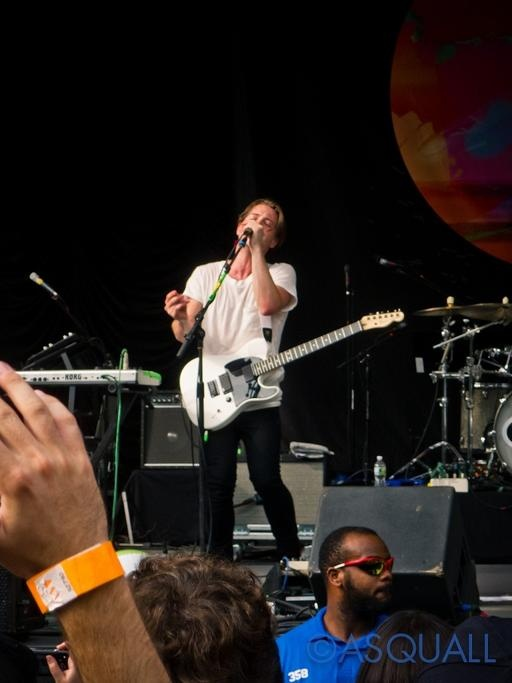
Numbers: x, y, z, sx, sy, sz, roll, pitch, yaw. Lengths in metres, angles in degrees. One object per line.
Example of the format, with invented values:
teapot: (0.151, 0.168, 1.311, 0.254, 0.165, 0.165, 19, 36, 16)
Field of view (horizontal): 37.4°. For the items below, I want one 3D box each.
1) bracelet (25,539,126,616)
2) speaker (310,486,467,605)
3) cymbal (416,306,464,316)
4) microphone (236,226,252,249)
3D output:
bracelet: (-0.132, 0.172, 0.560, 0.075, 0.041, 0.018, -26, -3, -4)
speaker: (0.298, 0.485, 1.920, 0.404, 0.227, 0.398, -6, -24, 32)
cymbal: (1.268, -0.211, 5.417, 0.296, 0.077, 0.722, -4, -1, 10)
microphone: (-0.049, -0.389, 2.811, 0.087, 0.044, 0.173, 3, 17, -2)
